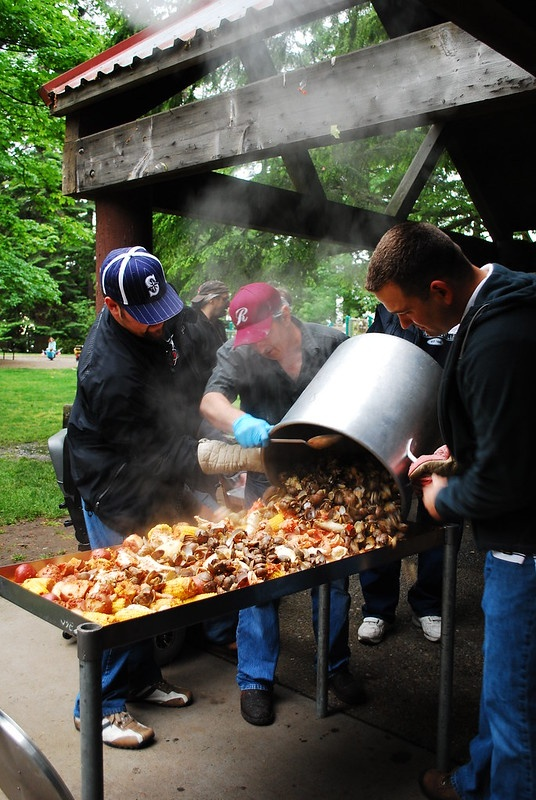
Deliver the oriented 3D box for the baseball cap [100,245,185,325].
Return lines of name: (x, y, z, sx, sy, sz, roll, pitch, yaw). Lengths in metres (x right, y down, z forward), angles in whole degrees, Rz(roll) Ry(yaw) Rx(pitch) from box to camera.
baseball cap: (-0.423, -0.406, 2.094, 0.200, 0.159, 0.307, -36, 64, -28)

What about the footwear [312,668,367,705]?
footwear: (0.295, 1.163, 2.547, 0.094, 0.087, 0.199, 1, 2, -40)

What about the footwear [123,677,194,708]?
footwear: (-0.432, 1.182, 2.509, 0.276, 0.107, 0.096, -2, -10, 6)

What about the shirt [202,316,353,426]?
shirt: (0.045, -0.023, 2.742, 0.642, 0.549, 0.449, 9, 28, 14)

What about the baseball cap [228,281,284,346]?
baseball cap: (-0.049, -0.341, 2.425, 0.162, 0.138, 0.244, -1, 52, 37)

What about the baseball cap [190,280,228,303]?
baseball cap: (-0.414, -0.789, 4.422, 0.231, 0.166, 0.151, -2, 19, -21)

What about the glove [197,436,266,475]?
glove: (-0.118, 0.187, 2.077, 0.199, 0.081, 0.110, -1, 44, 10)

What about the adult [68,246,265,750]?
adult: (-0.375, 0.344, 2.345, 0.731, 1.697, 0.649, -1, 8, -10)

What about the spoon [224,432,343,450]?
spoon: (0.062, 0.127, 1.883, 0.399, 0.055, 0.080, -3, -3, 2)
